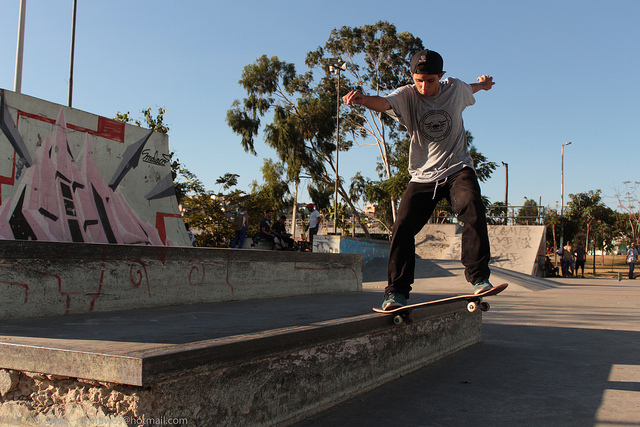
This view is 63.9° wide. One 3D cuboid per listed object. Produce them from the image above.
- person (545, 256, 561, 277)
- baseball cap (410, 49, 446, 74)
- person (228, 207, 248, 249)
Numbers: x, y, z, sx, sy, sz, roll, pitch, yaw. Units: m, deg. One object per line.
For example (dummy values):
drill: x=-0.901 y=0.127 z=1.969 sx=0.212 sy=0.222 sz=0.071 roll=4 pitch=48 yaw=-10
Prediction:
person: x=9.871 y=2.280 z=21.659 sx=0.781 sy=0.880 sz=0.423 roll=4 pitch=0 yaw=-28
baseball cap: x=0.969 y=-1.377 z=4.607 sx=0.266 sy=0.249 sz=0.426 roll=8 pitch=15 yaw=21
person: x=-2.349 y=0.421 z=15.003 sx=0.374 sy=1.110 sz=1.156 roll=3 pitch=0 yaw=-11
